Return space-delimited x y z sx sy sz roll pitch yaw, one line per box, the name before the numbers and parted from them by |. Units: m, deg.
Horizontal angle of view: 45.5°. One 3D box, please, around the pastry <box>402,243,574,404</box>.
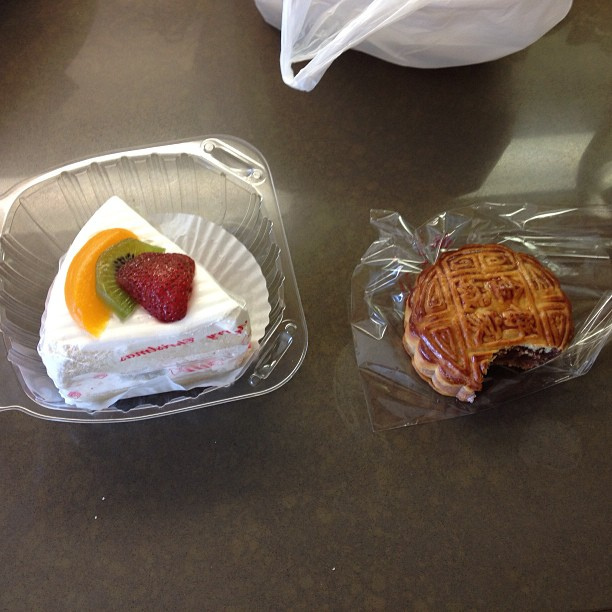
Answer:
pastry | 0.256 0.012 1.057 0.258 0.074 0.207 -27 71 -20
